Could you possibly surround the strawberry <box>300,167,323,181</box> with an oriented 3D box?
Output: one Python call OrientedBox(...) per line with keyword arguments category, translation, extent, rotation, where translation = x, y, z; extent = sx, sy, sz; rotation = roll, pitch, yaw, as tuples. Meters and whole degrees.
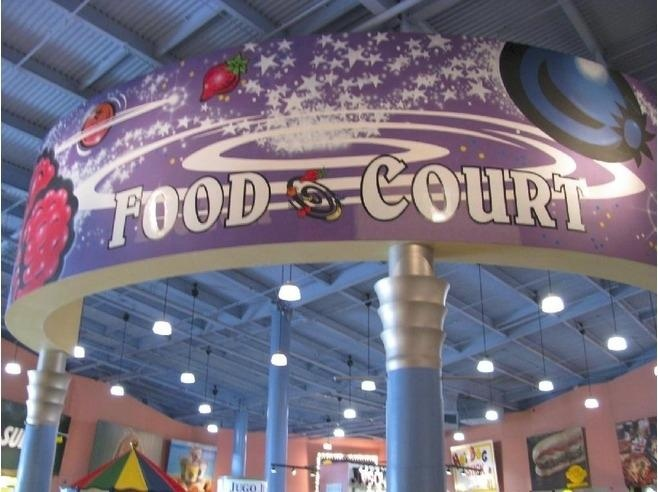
OrientedBox(category="strawberry", translation=(-0.208, -0.832, 6.786), extent=(0.124, 0.097, 0.212), rotation=(0, -5, -34))
